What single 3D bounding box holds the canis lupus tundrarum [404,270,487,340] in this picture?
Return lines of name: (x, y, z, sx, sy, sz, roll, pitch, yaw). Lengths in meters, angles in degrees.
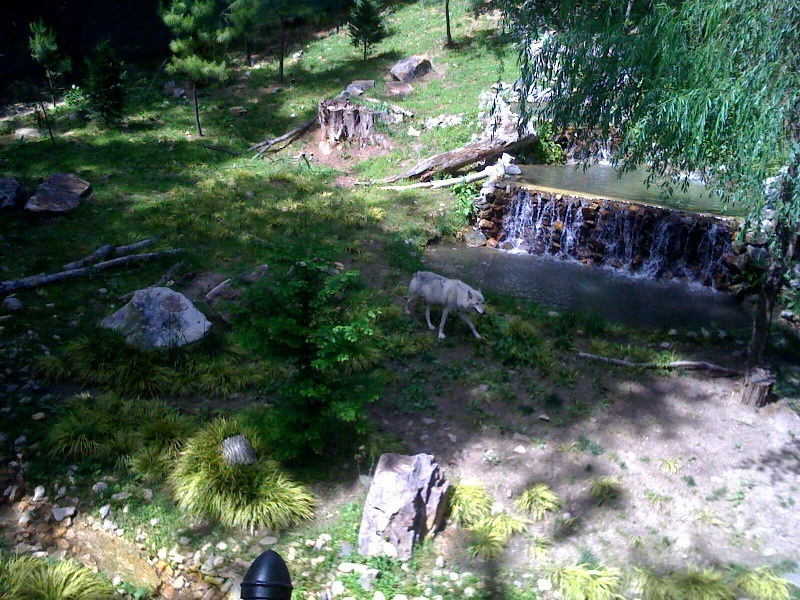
canis lupus tundrarum: (1.175, 0.180, 14.997, 1.993, 1.400, 0.871, 17, 35, 27)
